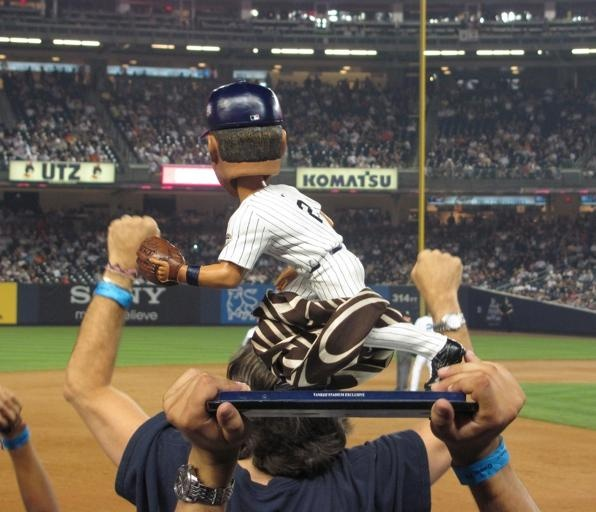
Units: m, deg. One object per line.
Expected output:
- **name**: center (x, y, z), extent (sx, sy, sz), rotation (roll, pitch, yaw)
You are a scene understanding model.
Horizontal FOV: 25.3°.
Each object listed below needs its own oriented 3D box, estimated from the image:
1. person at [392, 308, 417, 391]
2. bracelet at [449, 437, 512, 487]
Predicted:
- **person**: center (2.192, 1.995, 28.096), extent (0.538, 1.628, 0.474), rotation (8, 8, 33)
- **bracelet**: center (3.245, 3.682, 23.289), extent (0.955, 0.346, 0.707), rotation (-30, 1, 15)
